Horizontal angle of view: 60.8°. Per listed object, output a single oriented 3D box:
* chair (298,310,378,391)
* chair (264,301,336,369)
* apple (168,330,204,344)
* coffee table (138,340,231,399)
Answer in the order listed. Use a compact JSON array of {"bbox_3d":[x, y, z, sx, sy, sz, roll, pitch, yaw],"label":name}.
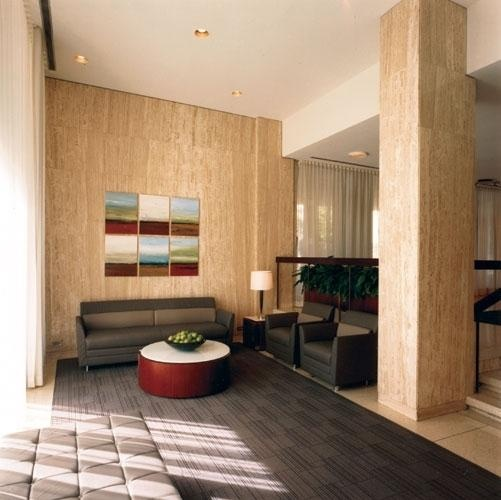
[{"bbox_3d":[1.062,1.113,4.960,0.818,0.687,0.785,-2,3,-17],"label":"chair"},{"bbox_3d":[0.672,1.098,5.819,0.804,0.655,0.812,-4,4,-38],"label":"chair"},{"bbox_3d":[-0.729,0.968,4.682,0.235,0.082,0.229,-1,-4,32],"label":"apple"},{"bbox_3d":[-0.736,1.288,4.821,1.063,0.356,1.015,-1,4,-26],"label":"coffee table"}]
